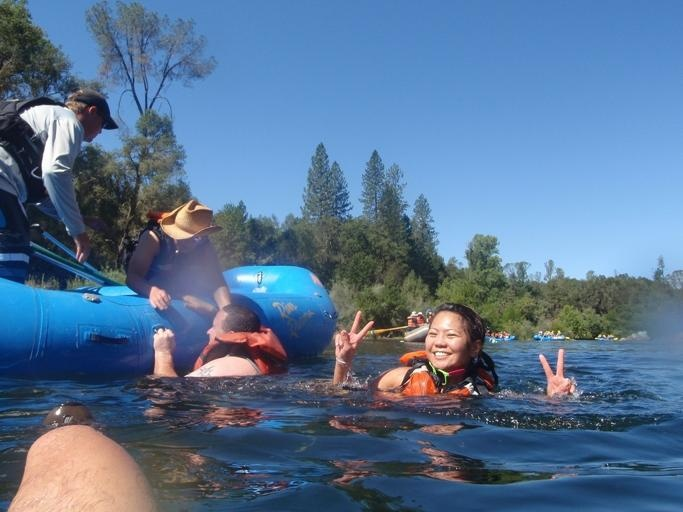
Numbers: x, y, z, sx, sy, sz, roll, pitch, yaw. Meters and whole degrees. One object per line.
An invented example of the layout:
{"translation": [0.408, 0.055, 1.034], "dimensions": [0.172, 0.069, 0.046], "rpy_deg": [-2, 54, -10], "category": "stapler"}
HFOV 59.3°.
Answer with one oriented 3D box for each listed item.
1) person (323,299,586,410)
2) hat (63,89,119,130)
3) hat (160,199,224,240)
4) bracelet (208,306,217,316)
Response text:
{"translation": [0.703, 0.681, 4.517], "dimensions": [1.332, 0.761, 2.132], "rpy_deg": [7, -8, 15], "category": "person"}
{"translation": [-2.182, -1.283, 5.116], "dimensions": [0.273, 0.233, 0.387], "rpy_deg": [-17, -3, 39], "category": "hat"}
{"translation": [-1.452, -0.347, 5.668], "dimensions": [0.554, 0.419, 0.409], "rpy_deg": [4, -6, -15], "category": "hat"}
{"translation": [-1.232, 0.530, 5.730], "dimensions": [0.078, 0.087, 0.025], "rpy_deg": [-7, -36, 29], "category": "bracelet"}
